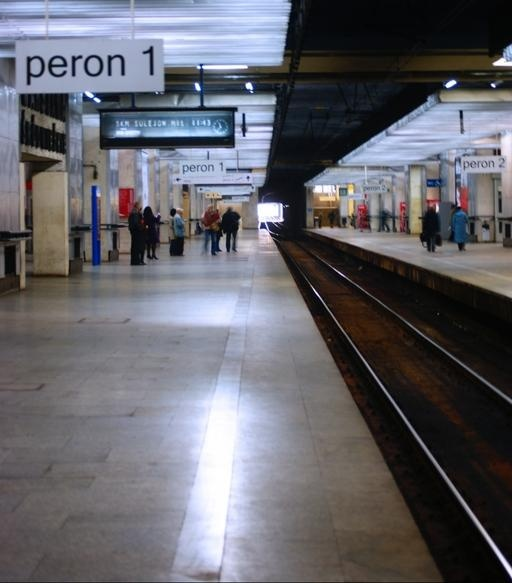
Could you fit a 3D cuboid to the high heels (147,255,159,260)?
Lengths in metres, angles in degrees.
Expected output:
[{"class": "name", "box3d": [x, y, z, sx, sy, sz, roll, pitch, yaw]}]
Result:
[{"class": "high heels", "box3d": [-4.012, -1.274, 20.691, 0.421, 0.235, 0.156, -2, 3, 3]}]
